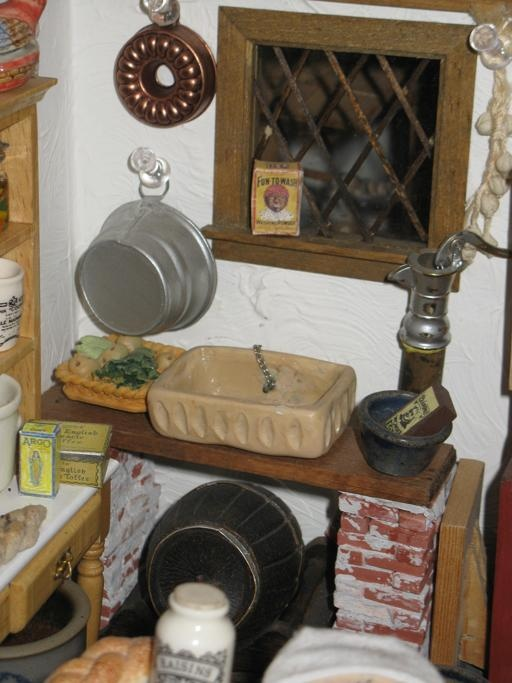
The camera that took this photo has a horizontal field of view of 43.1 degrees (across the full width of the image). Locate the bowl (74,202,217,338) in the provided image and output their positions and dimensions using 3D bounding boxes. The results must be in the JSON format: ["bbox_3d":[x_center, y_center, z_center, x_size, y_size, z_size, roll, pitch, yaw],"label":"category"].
[{"bbox_3d":[-0.296,-0.228,2.061,0.424,0.424,0.194,-7,20,22],"label":"bowl"}]
